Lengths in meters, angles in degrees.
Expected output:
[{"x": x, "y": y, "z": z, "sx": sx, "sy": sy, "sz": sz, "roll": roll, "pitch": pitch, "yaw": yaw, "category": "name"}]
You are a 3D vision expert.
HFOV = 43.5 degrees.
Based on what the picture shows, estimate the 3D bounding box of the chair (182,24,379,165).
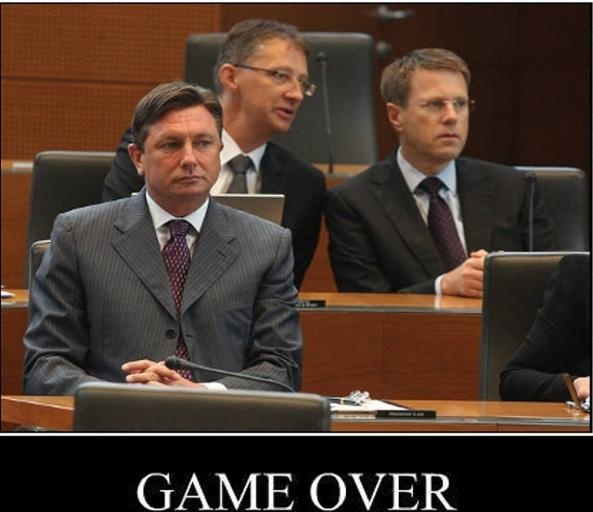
[{"x": -0.045, "y": -0.638, "z": 3.232, "sx": 0.586, "sy": 0.831, "sz": 0.656, "roll": 1, "pitch": -3, "yaw": -5, "category": "chair"}]

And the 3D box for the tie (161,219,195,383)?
[{"x": -0.257, "y": 0.060, "z": 1.636, "sx": 0.065, "sy": 0.423, "sz": 0.058, "roll": 0, "pitch": -20, "yaw": -5, "category": "tie"}]

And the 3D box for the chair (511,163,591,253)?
[{"x": 0.883, "y": -0.155, "z": 2.525, "sx": 0.275, "sy": 0.384, "sz": 0.283, "roll": 0, "pitch": 0, "yaw": 6, "category": "chair"}]

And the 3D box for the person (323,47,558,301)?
[{"x": 0.384, "y": -0.232, "z": 2.759, "sx": 0.784, "sy": 1.104, "sz": 0.809, "roll": 1, "pitch": -10, "yaw": -7, "category": "person"}]

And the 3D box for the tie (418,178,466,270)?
[{"x": 0.484, "y": -0.089, "z": 2.488, "sx": 0.092, "sy": 0.348, "sz": 0.091, "roll": -15, "pitch": -17, "yaw": -8, "category": "tie"}]
